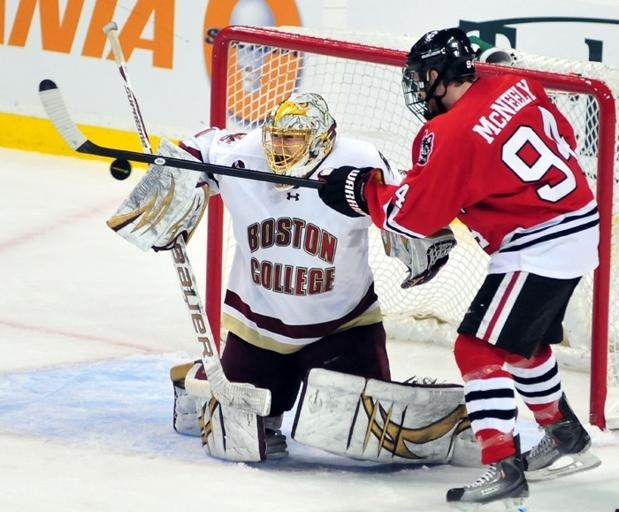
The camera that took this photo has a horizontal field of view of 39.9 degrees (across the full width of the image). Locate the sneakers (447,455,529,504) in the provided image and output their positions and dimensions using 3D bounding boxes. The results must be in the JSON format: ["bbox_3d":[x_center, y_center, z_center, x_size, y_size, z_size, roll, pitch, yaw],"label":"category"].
[{"bbox_3d":[0.477,0.653,2.528,0.311,0.166,0.095,-1,-3,0],"label":"sneakers"}]

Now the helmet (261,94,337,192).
[{"bbox_3d":[-0.037,-0.405,2.787,0.211,0.212,0.259,4,32,14],"label":"helmet"}]

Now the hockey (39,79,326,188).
[{"bbox_3d":[-0.610,-0.598,4.039,1.454,0.364,0.028,10,24,-10],"label":"hockey"}]

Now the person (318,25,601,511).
[{"bbox_3d":[0.537,0.009,2.578,0.610,1.352,0.668,-9,20,-41],"label":"person"}]

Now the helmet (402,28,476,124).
[{"bbox_3d":[0.423,-0.552,2.599,0.261,0.249,0.237,-7,2,44],"label":"helmet"}]
